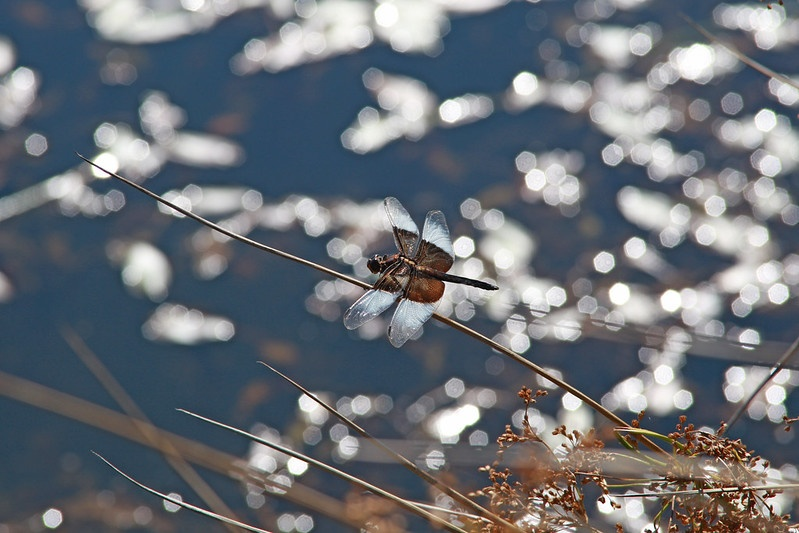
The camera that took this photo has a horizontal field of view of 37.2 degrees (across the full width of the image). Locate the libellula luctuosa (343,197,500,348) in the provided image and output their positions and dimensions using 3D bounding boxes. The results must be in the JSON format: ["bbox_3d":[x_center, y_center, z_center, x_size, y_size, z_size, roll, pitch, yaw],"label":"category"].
[{"bbox_3d":[0.106,0.034,6.178,0.757,0.202,0.944,16,65,8],"label":"libellula luctuosa"}]
